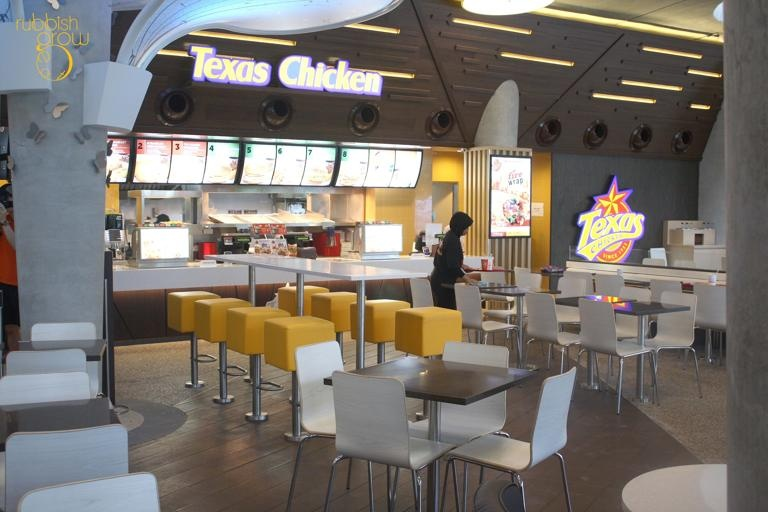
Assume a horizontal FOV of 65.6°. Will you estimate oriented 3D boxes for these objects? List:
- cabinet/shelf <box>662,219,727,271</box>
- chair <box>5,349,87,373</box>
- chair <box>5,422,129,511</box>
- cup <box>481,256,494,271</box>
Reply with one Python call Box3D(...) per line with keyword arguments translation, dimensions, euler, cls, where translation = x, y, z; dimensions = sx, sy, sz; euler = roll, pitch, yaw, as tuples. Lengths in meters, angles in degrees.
Box3D(translation=(7.064, -0.082, 13.423), dimensions=(1.255, 1.367, 1.238), euler=(2, 5, 11), cls="cabinet/shelf")
Box3D(translation=(-2.160, 0.670, 3.813), dimensions=(0.469, 0.157, 0.143), euler=(2, 1, -4), cls="chair")
Box3D(translation=(-1.566, 0.957, 3.031), dimensions=(0.593, 0.400, 0.563), euler=(-4, 7, -29), cls="chair")
Box3D(translation=(1.572, 0.116, 9.264), dimensions=(0.209, 0.204, 0.196), euler=(1, 8, 0), cls="cup")
